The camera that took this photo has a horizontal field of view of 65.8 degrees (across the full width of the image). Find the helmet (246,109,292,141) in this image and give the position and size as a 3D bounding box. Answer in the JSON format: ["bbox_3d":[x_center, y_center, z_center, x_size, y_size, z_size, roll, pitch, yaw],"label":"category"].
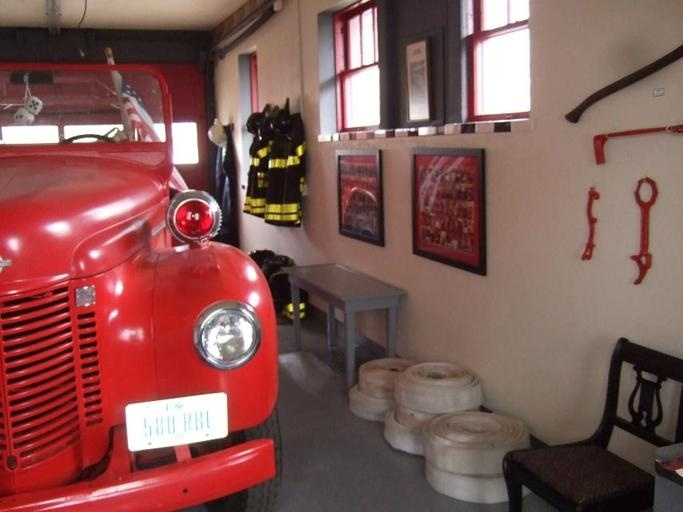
[{"bbox_3d":[-0.753,-1.378,5.415,0.311,0.258,0.464,-6,15,29],"label":"helmet"}]

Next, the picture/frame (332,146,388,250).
[{"bbox_3d":[0.154,-0.463,4.091,0.052,0.876,0.713,-7,11,-28],"label":"picture/frame"}]

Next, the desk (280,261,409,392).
[{"bbox_3d":[0.026,0.537,3.877,0.438,0.618,0.917,-2,5,-21],"label":"desk"}]

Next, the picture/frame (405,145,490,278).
[{"bbox_3d":[0.642,-0.273,3.135,0.032,0.868,0.712,-6,10,-25],"label":"picture/frame"}]
